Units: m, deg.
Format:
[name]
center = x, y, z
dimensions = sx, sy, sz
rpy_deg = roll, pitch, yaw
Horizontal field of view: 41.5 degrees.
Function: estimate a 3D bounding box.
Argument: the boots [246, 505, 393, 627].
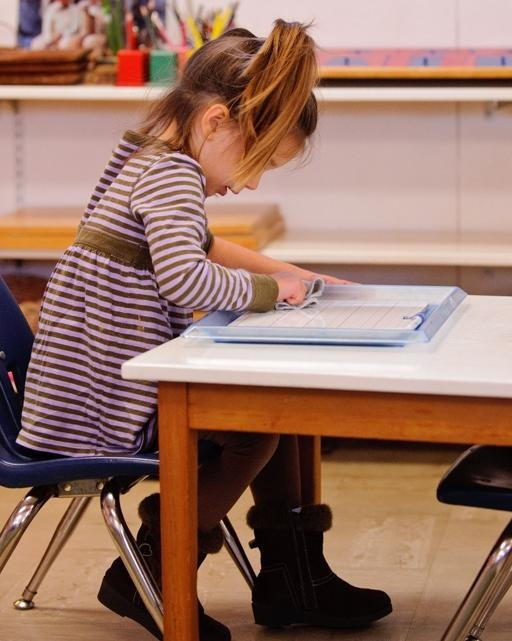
[boots]
center = 0.090, 0.375, 1.038
dimensions = 0.246, 0.098, 0.173
rpy_deg = 8, 70, -14
